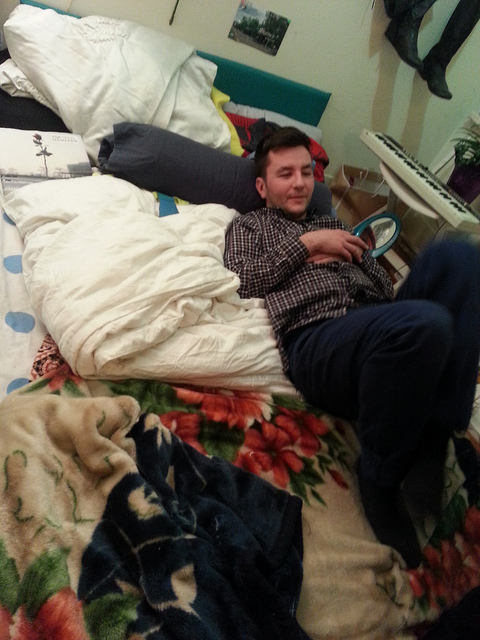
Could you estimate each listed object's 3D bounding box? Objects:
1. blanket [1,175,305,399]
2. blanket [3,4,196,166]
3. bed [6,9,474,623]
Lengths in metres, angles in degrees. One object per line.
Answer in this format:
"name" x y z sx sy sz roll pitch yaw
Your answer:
"blanket" -0.224 0.022 1.256 0.631 0.184 0.700 -1 55 -35
"blanket" -0.528 -0.878 1.872 0.660 0.365 0.548 3 41 -23
"bed" -0.215 -0.068 1.402 0.948 0.492 1.855 -1 53 -16
